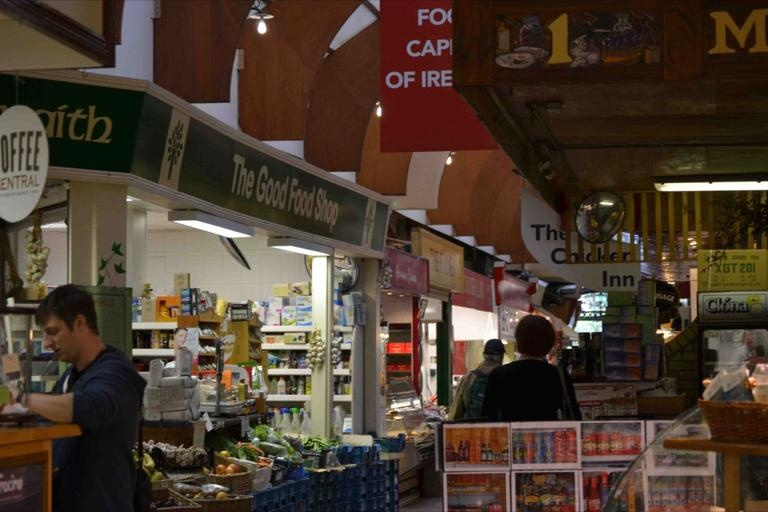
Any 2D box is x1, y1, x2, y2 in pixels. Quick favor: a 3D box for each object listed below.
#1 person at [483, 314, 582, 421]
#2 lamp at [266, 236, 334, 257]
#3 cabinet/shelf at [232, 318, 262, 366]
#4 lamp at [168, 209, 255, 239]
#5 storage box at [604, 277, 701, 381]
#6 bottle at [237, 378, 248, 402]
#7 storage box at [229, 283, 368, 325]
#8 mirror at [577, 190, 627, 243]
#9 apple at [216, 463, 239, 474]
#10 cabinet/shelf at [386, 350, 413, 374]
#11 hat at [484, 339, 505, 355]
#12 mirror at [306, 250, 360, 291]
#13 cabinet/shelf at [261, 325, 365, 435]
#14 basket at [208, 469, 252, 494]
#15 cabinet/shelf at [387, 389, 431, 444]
[{"bbox_3d":[1.216,0.915,7.735,0.824,0.877,0.419,-2,-6,7],"label":"person"},{"bbox_3d":[-0.969,-0.112,10.639,0.074,0.172,1.006,-5,-6,27],"label":"lamp"},{"bbox_3d":[-1.711,1.059,11.482,0.202,0.588,0.607,-1,-3,9],"label":"cabinet/shelf"},{"bbox_3d":[-1.686,-0.323,9.076,0.298,0.119,1.146,-4,-8,21],"label":"lamp"},{"bbox_3d":[3.246,0.881,11.205,1.164,1.739,0.910,0,-13,6],"label":"storage box"},{"bbox_3d":[-1.476,1.377,9.672,0.109,0.220,0.476,0,-7,-9],"label":"bottle"},{"bbox_3d":[-1.100,0.652,12.577,1.623,0.631,0.515,-8,-9,42],"label":"storage box"},{"bbox_3d":[2.220,-0.416,9.481,0.500,0.522,0.242,-2,-6,8],"label":"mirror"},{"bbox_3d":[-1.418,1.904,8.373,0.151,0.075,0.093,-6,-7,32],"label":"apple"},{"bbox_3d":[0.280,1.979,17.542,0.677,0.390,0.474,-1,-18,0],"label":"cabinet/shelf"},{"bbox_3d":[1.126,0.899,9.423,0.133,0.119,0.196,2,5,7],"label":"hat"},{"bbox_3d":[-0.539,0.222,12.260,0.484,0.562,0.159,-1,13,11],"label":"mirror"},{"bbox_3d":[-0.873,1.589,11.943,1.290,1.345,0.393,-2,-5,19],"label":"cabinet/shelf"},{"bbox_3d":[-1.370,1.992,8.273,0.270,0.116,0.209,-1,-5,8],"label":"basket"},{"bbox_3d":[0.363,2.327,13.800,0.654,0.677,1.473,-2,-7,2],"label":"cabinet/shelf"}]
